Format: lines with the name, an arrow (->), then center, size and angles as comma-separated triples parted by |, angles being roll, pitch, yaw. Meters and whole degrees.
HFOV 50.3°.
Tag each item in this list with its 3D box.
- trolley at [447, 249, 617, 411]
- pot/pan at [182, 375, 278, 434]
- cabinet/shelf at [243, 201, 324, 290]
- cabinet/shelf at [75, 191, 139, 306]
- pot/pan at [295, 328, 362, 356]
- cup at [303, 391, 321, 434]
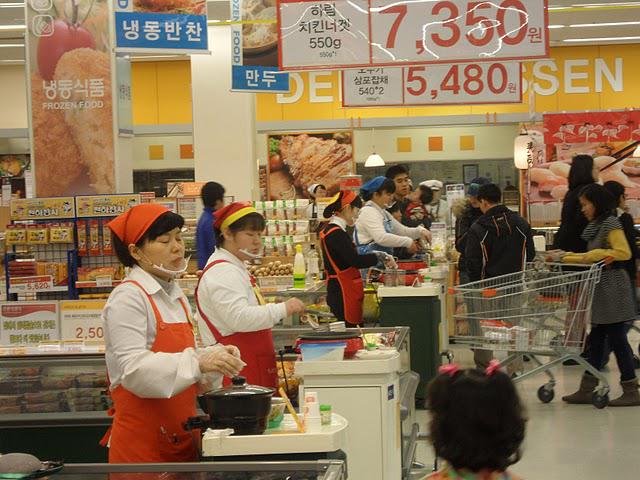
trolley -> 1.905, 0.745, 6.528 | 1.958, 1.681, 1.105 | 1, -1, 2
pot/pan -> -0.375, 0.683, 2.864 | 0.306, 0.144, 0.241 | -3, -4, 3
cabinet/shelf -> -0.369, 0.025, 7.488 | 0.912, 0.884, 0.652 | 0, 10, 8
cabinet/shelf -> -1.886, 0.080, 5.846 | 0.463, 0.971, 0.503 | -1, 9, 3
pot/pan -> 0.050, 0.524, 3.502 | 0.328, 0.115, 0.250 | -1, 3, 0
cup -> -0.032, 0.705, 2.858 | 0.078, 0.151, 0.173 | -1, 3, 0
